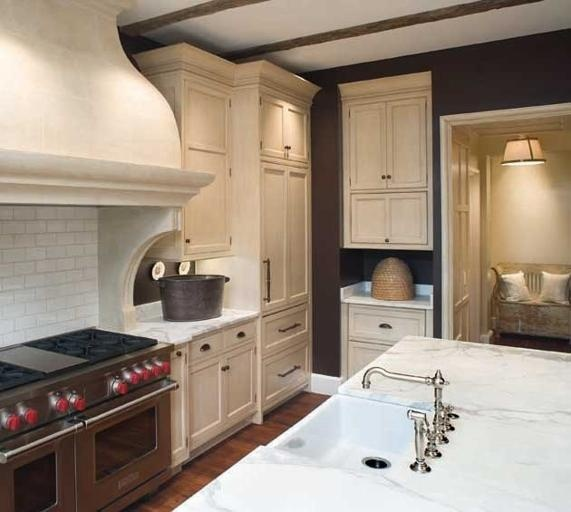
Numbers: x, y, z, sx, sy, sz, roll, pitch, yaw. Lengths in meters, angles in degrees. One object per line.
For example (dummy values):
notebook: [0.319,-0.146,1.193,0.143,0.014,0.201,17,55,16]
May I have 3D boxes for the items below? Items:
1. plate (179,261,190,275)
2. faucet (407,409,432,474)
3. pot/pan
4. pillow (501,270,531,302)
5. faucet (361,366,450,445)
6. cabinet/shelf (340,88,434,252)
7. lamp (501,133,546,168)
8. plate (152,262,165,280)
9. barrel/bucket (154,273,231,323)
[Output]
plate: [-0.756,0.088,3.559,0.025,0.098,0.105,5,9,29]
faucet: [0.399,0.515,1.424,0.060,0.168,0.233,0,5,16]
pot/pan: [-0.658,0.284,3.328,0.333,0.272,0.569,0,1,42]
pillow: [2.980,0.397,6.213,0.360,0.362,0.113,-4,-19,-3]
faucet: [0.419,0.496,1.678,0.299,0.222,0.210,2,1,35]
cabinet/shelf: [0.995,-0.721,4.183,0.372,1.318,0.873,-13,15,-41]
lamp: [2.685,-1.164,5.477,0.434,0.227,0.420,-4,2,-28]
plate: [-0.907,0.104,3.395,0.038,0.109,0.115,1,-7,23]
barrel/bucket: [-0.652,0.292,3.355,0.345,0.286,0.610,-1,1,41]
